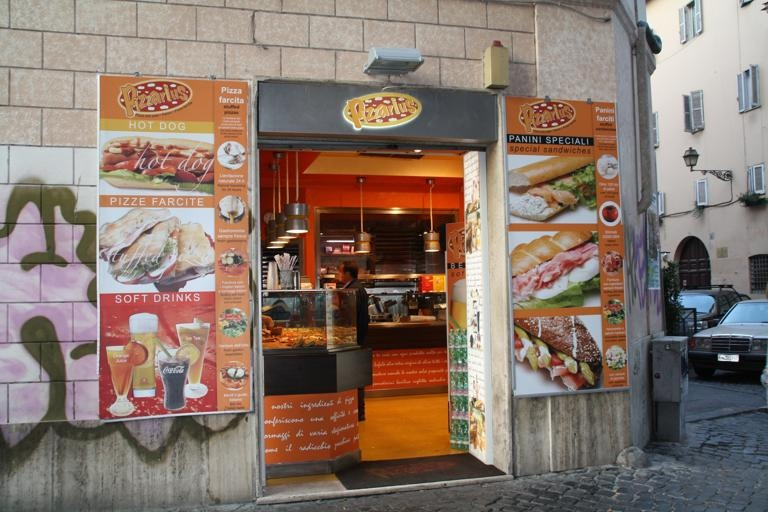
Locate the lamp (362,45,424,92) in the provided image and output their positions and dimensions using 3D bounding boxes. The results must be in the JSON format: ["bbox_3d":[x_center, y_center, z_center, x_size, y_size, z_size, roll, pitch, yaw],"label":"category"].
[{"bbox_3d":[0.099,-2.080,8.674,0.654,0.239,0.307,-2,-6,-8],"label":"lamp"}]

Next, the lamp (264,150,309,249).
[{"bbox_3d":[-1.688,-0.797,13.572,0.683,2.420,0.641,-1,-4,7],"label":"lamp"}]
